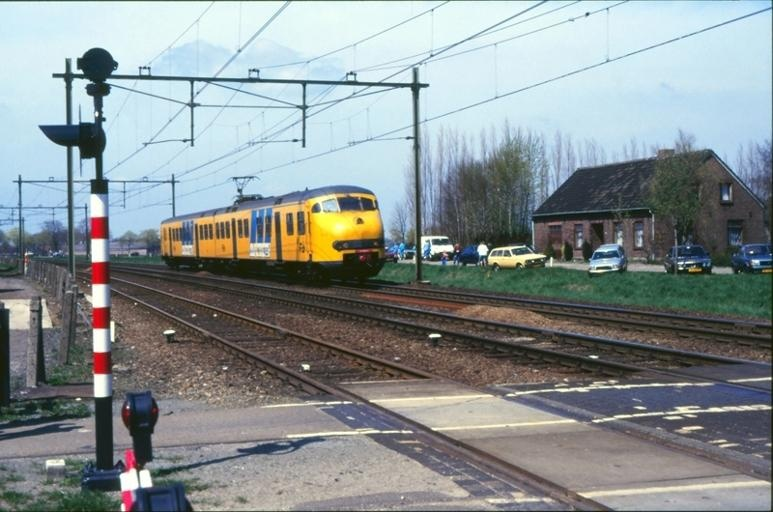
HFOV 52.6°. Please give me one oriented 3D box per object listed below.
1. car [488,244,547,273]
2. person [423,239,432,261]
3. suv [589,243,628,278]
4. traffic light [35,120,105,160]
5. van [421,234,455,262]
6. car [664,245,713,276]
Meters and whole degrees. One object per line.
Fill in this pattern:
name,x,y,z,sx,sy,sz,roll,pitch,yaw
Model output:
car,6.715,0.076,39.971,1.391,0.945,2.351,-1,-2,-32
person,3.200,-0.540,63.285,0.446,1.231,0.877,8,10,30
suv,10.161,0.107,35.908,1.122,0.976,2.209,-4,-4,14
traffic light,-3.463,-1.288,8.736,0.614,0.425,0.717,-4,5,-33
van,4.013,-0.835,63.914,1.906,1.768,3.035,1,-4,-24
car,13.581,0.106,34.953,1.851,1.211,2.050,-1,4,10
